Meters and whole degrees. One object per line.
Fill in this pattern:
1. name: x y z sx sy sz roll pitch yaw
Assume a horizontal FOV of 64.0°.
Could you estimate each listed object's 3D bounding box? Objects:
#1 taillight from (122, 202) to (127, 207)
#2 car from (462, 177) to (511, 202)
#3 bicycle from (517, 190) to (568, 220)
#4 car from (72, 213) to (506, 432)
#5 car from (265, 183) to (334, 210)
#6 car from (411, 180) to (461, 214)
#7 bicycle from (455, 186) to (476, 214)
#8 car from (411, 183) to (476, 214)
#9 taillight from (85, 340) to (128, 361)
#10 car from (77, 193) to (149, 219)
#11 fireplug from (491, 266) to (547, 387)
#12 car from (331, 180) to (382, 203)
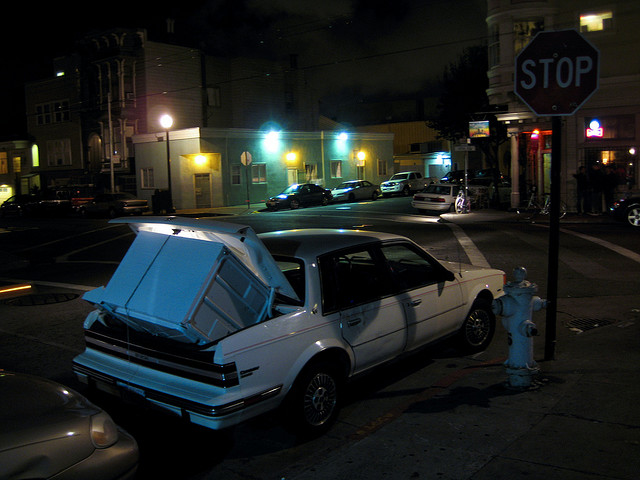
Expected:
1. taillight: -13.128 -2.437 34.387 0.281 0.218 0.101 -3 9 -2
2. car: 10.849 -3.146 33.235 4.592 1.256 1.881 -13 16 -38
3. bicycle: 10.856 -1.783 25.168 2.872 1.358 1.238 -2 2 -13
4. car: 0.259 0.706 6.964 2.568 1.735 5.824 6 11 43
5. car: -1.439 -3.113 36.156 1.479 1.608 4.760 4 10 40
6. car: 6.961 -2.506 28.318 1.419 0.834 3.074 9 20 43
7. bicycle: 7.529 -2.102 27.316 0.685 1.247 1.468 0 9 23
8. car: 7.147 -2.505 29.036 2.107 1.236 4.406 12 19 37
9. taillight: -2.271 1.187 5.489 0.700 0.081 0.113 19 22 29
10. car: -14.493 -2.393 35.164 4.296 1.553 1.669 0 9 18
11. fireplug: 2.391 1.021 6.063 0.944 1.272 0.666 3 -6 -21
12. car: 2.888 -3.945 40.847 4.183 1.617 1.574 -9 10 -38
